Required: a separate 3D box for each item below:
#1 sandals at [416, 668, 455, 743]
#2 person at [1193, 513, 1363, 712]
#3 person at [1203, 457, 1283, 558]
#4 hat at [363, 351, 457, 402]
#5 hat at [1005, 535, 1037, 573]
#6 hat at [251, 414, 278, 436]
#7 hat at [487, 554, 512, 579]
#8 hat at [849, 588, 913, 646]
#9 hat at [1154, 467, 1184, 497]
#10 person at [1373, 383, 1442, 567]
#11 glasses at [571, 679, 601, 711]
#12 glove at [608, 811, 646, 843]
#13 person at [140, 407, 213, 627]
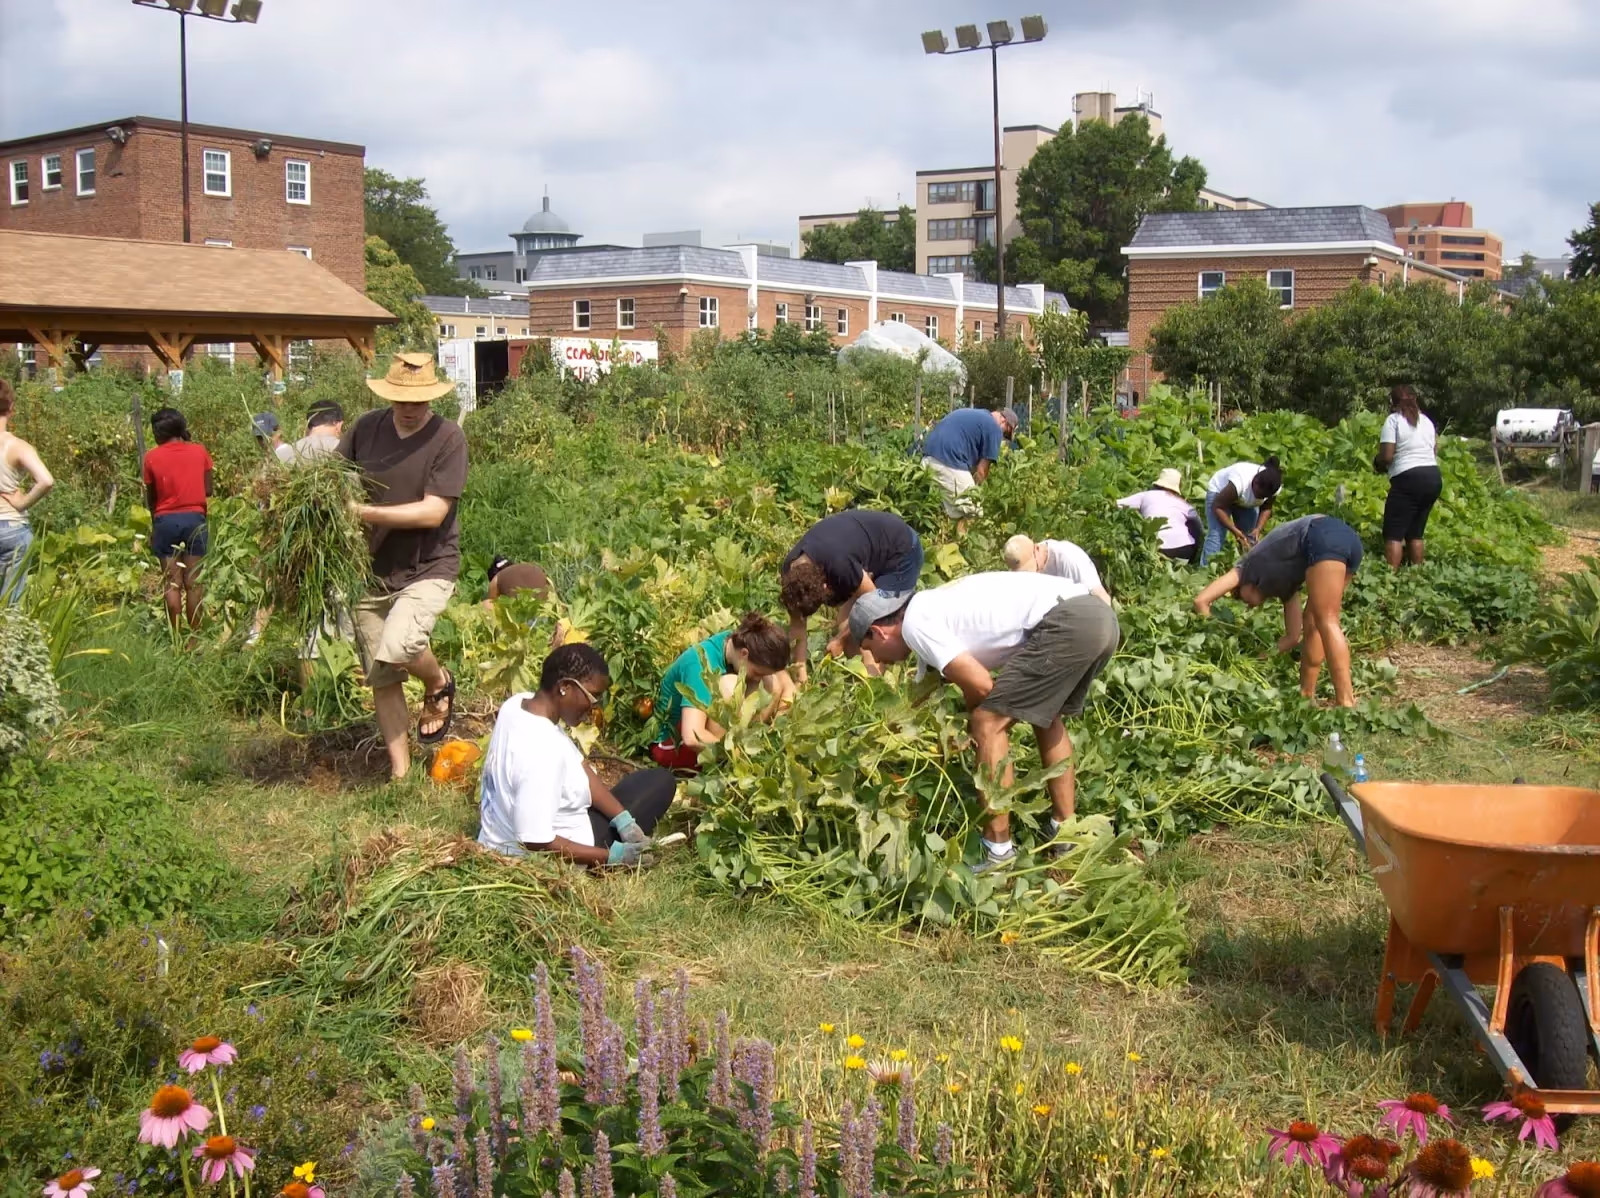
[{"bbox_3d":[-2.190,0.667,9.418,0.160,0.481,0.151,5,6,5],"label":"sandals"},{"bbox_3d":[3.175,0.024,10.464,1.082,1.387,0.921,15,-20,-26],"label":"person"},{"bbox_3d":[3.586,-0.737,12.851,0.384,0.669,1.115,-12,-26,-4],"label":"person"},{"bbox_3d":[-2.182,-1.200,8.780,0.346,0.157,0.404,3,21,-13],"label":"hat"},{"bbox_3d":[1.178,-0.245,8.491,0.178,0.193,0.479,1,10,7],"label":"hat"},{"bbox_3d":[-3.963,-1.288,11.601,0.317,0.110,0.327,0,14,-17],"label":"hat"},{"bbox_3d":[-2.160,-0.206,11.200,0.177,0.143,0.182,-8,12,-5],"label":"hat"},{"bbox_3d":[0.392,0.109,8.238,0.255,0.271,0.595,-1,10,-7],"label":"hat"},{"bbox_3d":[3.141,-1.050,13.643,0.218,0.136,0.246,10,24,-45],"label":"hat"},{"bbox_3d":[5.252,-1.088,13.773,0.562,1.607,0.430,-2,9,-12],"label":"person"},{"bbox_3d":[-1.022,0.442,7.437,0.035,0.121,0.117,-36,57,-29],"label":"glasses"},{"bbox_3d":[-0.865,1.127,7.790,0.103,0.185,0.092,-31,-3,-11],"label":"glove"},{"bbox_3d":[-4.567,-0.632,11.511,0.422,1.486,0.644,-4,10,-24],"label":"person"}]
